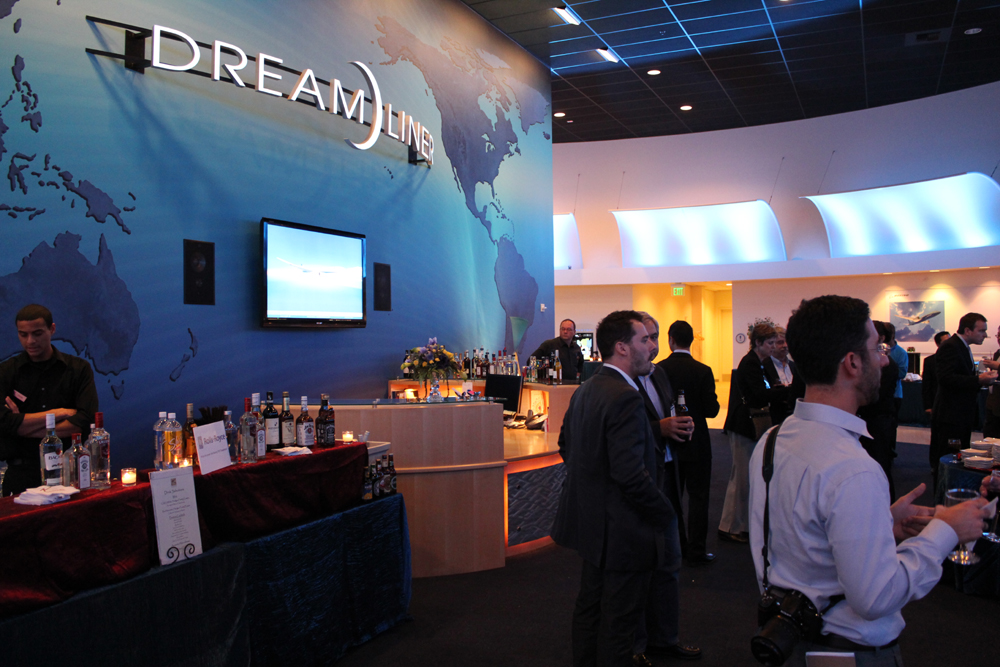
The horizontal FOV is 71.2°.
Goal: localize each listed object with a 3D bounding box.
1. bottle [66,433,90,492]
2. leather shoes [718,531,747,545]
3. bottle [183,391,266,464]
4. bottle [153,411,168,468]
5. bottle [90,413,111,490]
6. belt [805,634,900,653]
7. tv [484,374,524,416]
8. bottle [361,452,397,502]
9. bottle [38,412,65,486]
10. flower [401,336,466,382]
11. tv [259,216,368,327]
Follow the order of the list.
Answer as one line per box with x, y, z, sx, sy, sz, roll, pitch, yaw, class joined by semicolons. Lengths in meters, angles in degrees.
-2.197;0.662;3.664;0.147;0.280;0.113;5;7;38;bottle
2.055;1.790;6.175;0.244;0.106;0.092;-4;-6;26;leather shoes
-1.608;0.570;4.171;0.256;0.372;0.558;2;6;20;bottle
-1.908;0.596;3.929;0.069;0.303;0.179;-2;6;-24;bottle
-2.171;0.605;3.783;0.098;0.378;0.333;-3;7;-31;bottle
1.372;1.222;2.772;0.185;0.045;0.138;-3;-5;13;belt
0.031;0.572;6.643;0.388;0.341;0.053;6;-21;24;tv
-0.851;0.991;4.841;0.117;0.340;0.364;-2;-1;24;bottle
-2.345;0.588;3.661;0.101;0.386;0.199;-3;7;-33;bottle
-0.611;0.251;6.325;0.452;0.387;0.459;3;2;24;flower
-1.731;-0.540;6.403;0.054;0.967;1.079;4;7;36;tv
